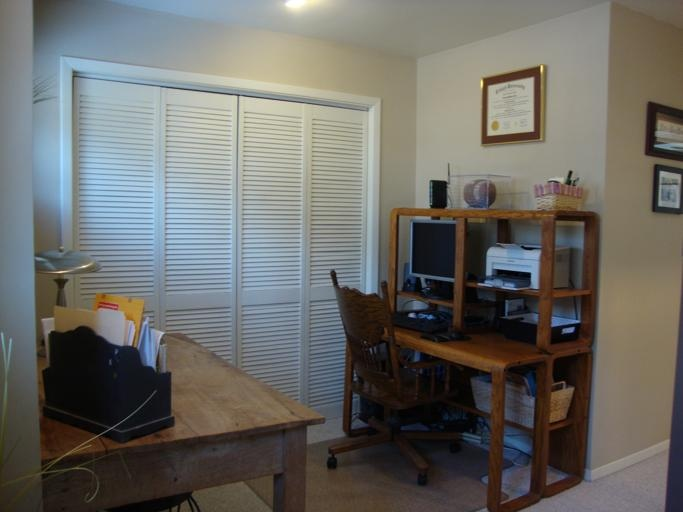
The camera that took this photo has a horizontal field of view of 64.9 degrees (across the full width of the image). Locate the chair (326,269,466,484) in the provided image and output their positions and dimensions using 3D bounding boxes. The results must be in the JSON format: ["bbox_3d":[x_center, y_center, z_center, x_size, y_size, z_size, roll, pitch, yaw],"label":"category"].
[{"bbox_3d":[0.310,0.745,3.557,0.886,1.215,0.949,-5,6,-25],"label":"chair"}]

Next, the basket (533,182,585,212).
[{"bbox_3d":[1.358,-0.347,3.319,0.272,0.150,0.181,-1,0,-40],"label":"basket"}]

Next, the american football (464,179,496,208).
[{"bbox_3d":[0.946,-0.402,3.713,0.203,0.198,0.207,-2,-10,44],"label":"american football"}]

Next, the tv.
[{"bbox_3d":[0.692,-0.007,3.779,0.153,0.502,0.492,-2,5,-32],"label":"tv"}]

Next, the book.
[{"bbox_3d":[-0.753,0.239,1.848,0.259,0.366,0.126,0,2,22],"label":"book"}]

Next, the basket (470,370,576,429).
[{"bbox_3d":[1.081,0.870,3.333,0.321,0.201,0.469,4,-1,-31],"label":"basket"}]

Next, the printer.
[{"bbox_3d":[1.166,0.060,3.403,0.282,0.283,0.415,-4,6,-32],"label":"printer"}]

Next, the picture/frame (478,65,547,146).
[{"bbox_3d":[1.212,-1.054,3.745,0.056,0.668,0.637,-1,1,-37],"label":"picture/frame"}]

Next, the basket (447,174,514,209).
[{"bbox_3d":[0.954,-0.461,3.799,0.305,0.187,0.299,-6,8,-43],"label":"basket"}]

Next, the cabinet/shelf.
[{"bbox_3d":[0.826,0.558,4.191,1.642,2.356,1.838,1,-1,-35],"label":"cabinet/shelf"}]
